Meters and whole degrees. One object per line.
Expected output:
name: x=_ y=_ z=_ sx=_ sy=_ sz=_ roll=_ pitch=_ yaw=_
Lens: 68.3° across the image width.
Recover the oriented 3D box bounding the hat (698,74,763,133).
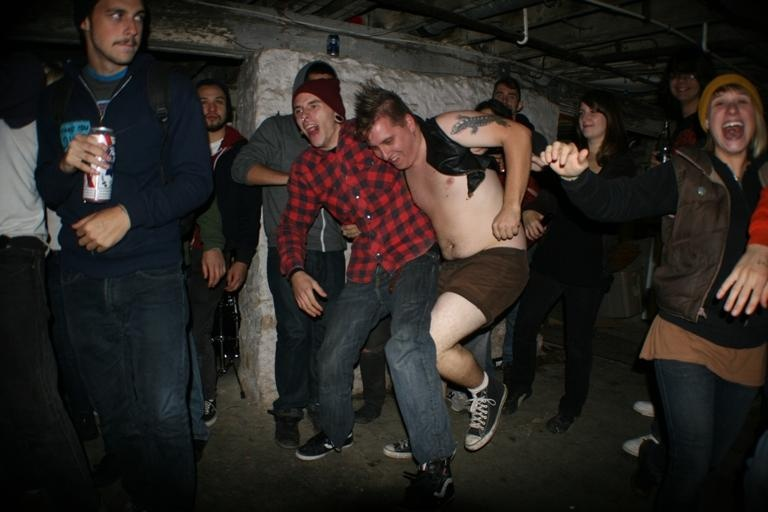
hat: x=2.171 y=-0.976 z=3.624 sx=0.357 sy=0.389 sz=0.164 roll=-2 pitch=18 yaw=19

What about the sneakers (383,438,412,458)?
sneakers: x=0.100 y=1.472 z=4.379 sx=0.209 sy=0.096 sz=0.213 roll=4 pitch=11 yaw=-8

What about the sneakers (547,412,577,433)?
sneakers: x=1.498 y=1.389 z=4.739 sx=0.280 sy=0.107 sz=0.105 roll=-10 pitch=32 yaw=-30

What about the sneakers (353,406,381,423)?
sneakers: x=-0.134 y=1.349 z=4.844 sx=0.215 sy=0.095 sz=0.191 roll=9 pitch=36 yaw=-10

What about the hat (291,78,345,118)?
hat: x=-0.504 y=-1.226 z=4.423 sx=0.309 sy=0.307 sz=0.400 roll=-21 pitch=26 yaw=-28

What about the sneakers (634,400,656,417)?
sneakers: x=2.279 y=1.344 z=5.006 sx=0.146 sy=0.089 sz=0.205 roll=8 pitch=11 yaw=10

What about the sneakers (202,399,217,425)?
sneakers: x=-1.439 y=1.304 z=4.733 sx=0.100 sy=0.170 sz=0.193 roll=3 pitch=12 yaw=-15

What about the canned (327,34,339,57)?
canned: x=-0.477 y=-1.957 z=5.314 sx=0.106 sy=0.216 sz=0.151 roll=4 pitch=12 yaw=-15

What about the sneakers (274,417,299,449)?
sneakers: x=-0.764 y=1.397 z=4.500 sx=0.183 sy=0.157 sz=0.276 roll=3 pitch=12 yaw=-14

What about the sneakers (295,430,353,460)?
sneakers: x=-0.406 y=1.462 z=4.390 sx=0.545 sy=0.191 sz=0.176 roll=0 pitch=5 yaw=-26
